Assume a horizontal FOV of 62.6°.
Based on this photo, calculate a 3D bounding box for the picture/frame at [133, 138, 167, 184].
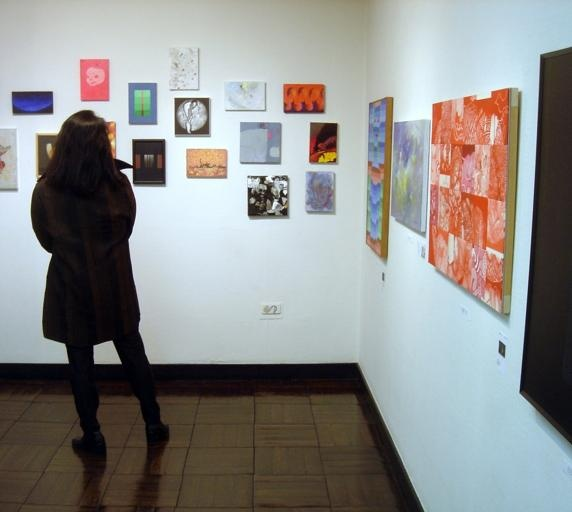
[{"bbox_3d":[-0.989,-0.699,3.424,0.258,0.424,0.040,0,7,-3],"label":"picture/frame"}]

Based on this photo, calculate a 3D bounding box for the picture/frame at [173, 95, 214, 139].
[{"bbox_3d":[-0.669,-1.011,3.392,0.239,0.278,0.026,0,9,2],"label":"picture/frame"}]

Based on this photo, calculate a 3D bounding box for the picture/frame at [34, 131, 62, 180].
[{"bbox_3d":[-1.711,-0.720,3.388,0.226,0.299,0.012,4,5,22],"label":"picture/frame"}]

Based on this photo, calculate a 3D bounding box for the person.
[{"bbox_3d":[-1.031,0.183,2.619,0.634,1.904,0.243,-4,10,-27],"label":"person"}]
